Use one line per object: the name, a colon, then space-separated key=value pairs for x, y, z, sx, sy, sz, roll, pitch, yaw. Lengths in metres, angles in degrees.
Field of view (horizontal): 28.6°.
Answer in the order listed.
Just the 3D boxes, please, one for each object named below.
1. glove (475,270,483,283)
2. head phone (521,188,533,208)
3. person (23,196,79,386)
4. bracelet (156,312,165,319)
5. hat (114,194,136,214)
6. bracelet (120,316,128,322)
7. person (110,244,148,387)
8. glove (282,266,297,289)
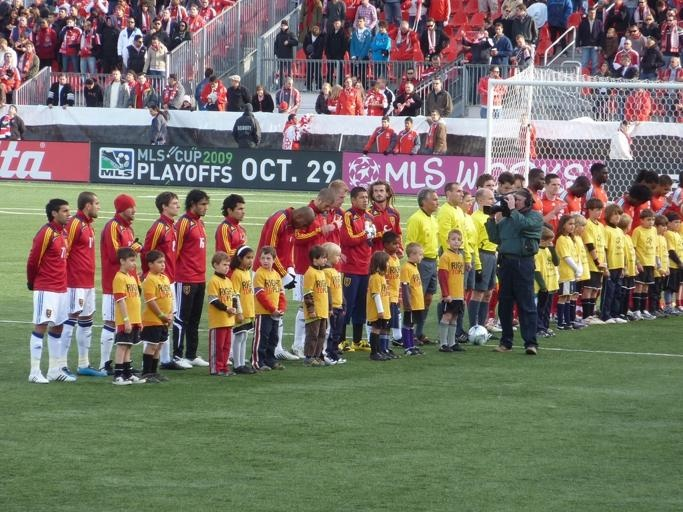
glove: x=2.015 y=0.315 z=19.544 sx=0.129 sy=0.160 sz=0.137 roll=-1 pitch=1 yaw=34
head phone: x=2.634 y=-0.792 z=18.764 sx=0.190 sy=0.248 sz=0.165 roll=6 pitch=-8 yaw=-9
person: x=-3.734 y=0.464 z=17.055 sx=0.585 sy=2.318 sz=0.464 roll=-2 pitch=9 yaw=-14
bracelet: x=-2.304 y=0.784 z=17.075 sx=0.082 sy=0.028 sz=0.079 roll=30 pitch=0 yaw=-43
hat: x=-2.873 y=-0.681 z=17.597 sx=0.271 sy=0.293 sz=0.228 roll=-1 pitch=17 yaw=2
bracelet: x=-2.735 y=0.815 z=16.849 sx=0.082 sy=0.066 sz=0.046 roll=1 pitch=10 yaw=5
person: x=-2.739 y=0.778 z=17.108 sx=0.407 sy=1.699 sz=0.614 roll=-2 pitch=10 yaw=-10
glove: x=-0.700 y=0.326 z=18.222 sx=0.116 sy=0.265 sz=0.197 roll=3 pitch=7 yaw=18
